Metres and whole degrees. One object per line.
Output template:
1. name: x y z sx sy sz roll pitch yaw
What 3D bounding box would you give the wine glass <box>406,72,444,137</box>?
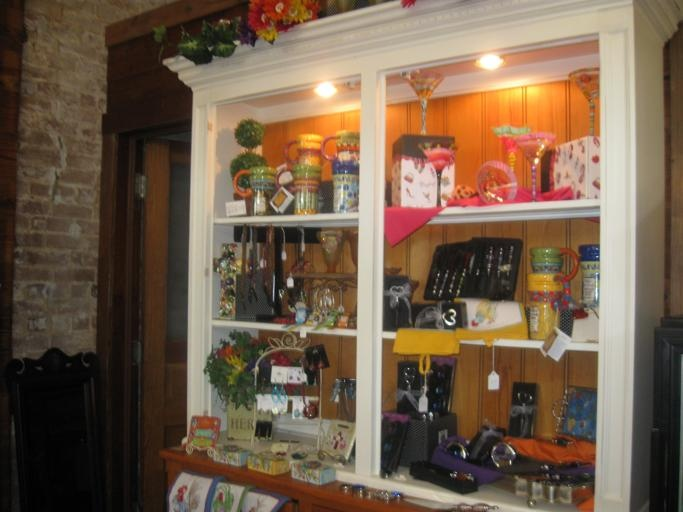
1. wine glass: 0.375 -0.706 2.999 0.227 0.301 0.243 0 12 7

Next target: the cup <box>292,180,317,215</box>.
1. cup: -0.151 -0.292 3.166 0.142 0.177 0.145 1 3 0

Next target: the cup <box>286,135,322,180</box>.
1. cup: -0.183 -0.479 3.210 0.213 0.249 0.143 5 14 7

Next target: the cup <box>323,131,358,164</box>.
1. cup: -0.007 -0.496 3.044 0.173 0.186 0.123 -2 8 -8

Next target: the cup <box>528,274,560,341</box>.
1. cup: 0.823 0.204 2.638 0.131 0.272 0.071 1 -5 18

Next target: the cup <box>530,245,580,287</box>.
1. cup: 0.874 0.038 2.712 0.143 0.158 0.205 1 1 -43

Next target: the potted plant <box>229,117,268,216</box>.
1. potted plant: -0.472 -0.467 3.358 0.194 0.484 0.205 4 13 13

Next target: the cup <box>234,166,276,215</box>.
1. cup: -0.429 -0.317 3.260 0.223 0.252 0.149 2 4 -1

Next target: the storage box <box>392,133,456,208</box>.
1. storage box: 0.379 -0.322 2.886 0.242 0.371 0.181 2 -28 2

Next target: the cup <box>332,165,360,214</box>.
1. cup: 0.026 -0.311 3.044 0.135 0.241 0.148 -1 3 0

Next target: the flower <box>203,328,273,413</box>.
1. flower: -0.518 0.584 3.239 0.327 0.328 0.351 8 -7 20

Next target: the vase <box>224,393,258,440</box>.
1. vase: -0.506 0.816 3.311 0.180 0.160 0.197 9 17 18
